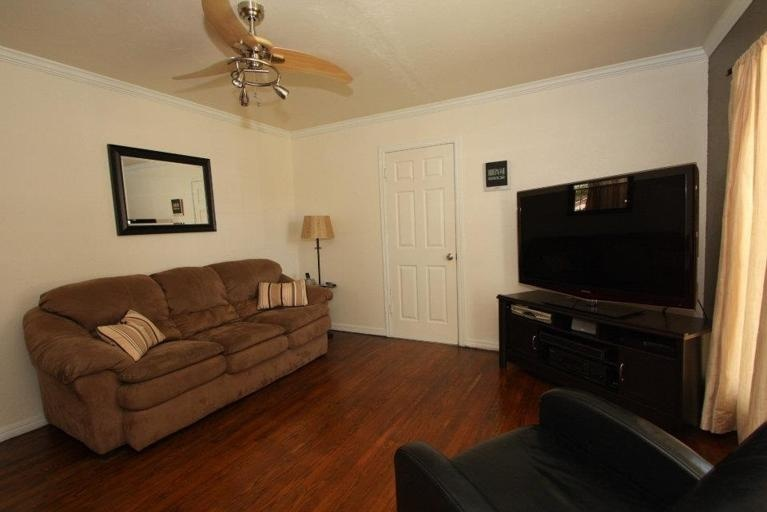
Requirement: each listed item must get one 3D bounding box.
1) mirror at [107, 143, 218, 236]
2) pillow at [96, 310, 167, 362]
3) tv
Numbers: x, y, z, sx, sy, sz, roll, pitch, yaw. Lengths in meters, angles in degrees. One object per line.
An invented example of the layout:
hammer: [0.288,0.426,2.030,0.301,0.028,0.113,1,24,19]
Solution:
mirror: [-2.304,-0.679,5.202,0.082,0.867,1.067,0,3,36]
pillow: [-2.207,0.674,4.420,0.392,0.345,0.471,-3,7,6]
tv: [2.025,-0.104,4.503,0.264,1.093,1.619,3,-2,-44]
